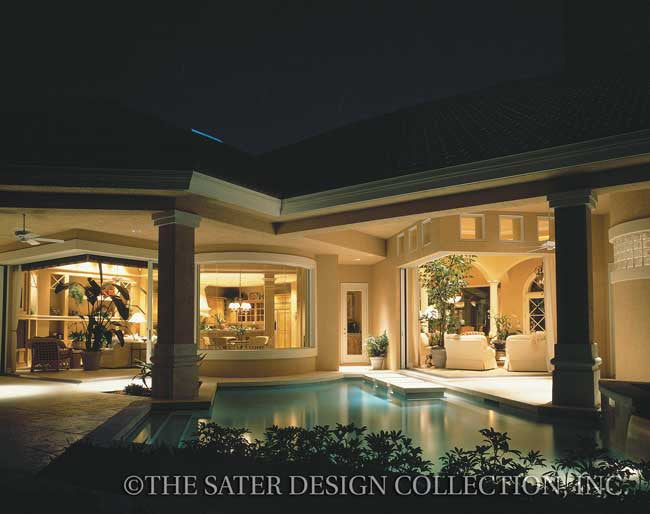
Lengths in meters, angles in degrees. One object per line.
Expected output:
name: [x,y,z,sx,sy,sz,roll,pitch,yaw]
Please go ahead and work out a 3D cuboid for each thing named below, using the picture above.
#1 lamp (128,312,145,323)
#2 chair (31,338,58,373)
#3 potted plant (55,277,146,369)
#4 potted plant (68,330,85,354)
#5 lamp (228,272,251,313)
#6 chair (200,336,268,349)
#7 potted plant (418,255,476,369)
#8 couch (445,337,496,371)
lamp: [-5.303,1.707,14.707,0.492,0.207,0.462,1,-5,1]
chair: [-6.848,2.378,12.713,0.697,0.808,0.504,4,-13,-11]
potted plant: [-5.929,1.788,13.120,2.315,1.964,1.963,-1,-21,-17]
potted plant: [-6.808,2.334,14.253,0.625,0.602,0.606,1,-3,-29]
lamp: [-2.002,1.040,12.196,0.448,0.973,0.445,0,-3,-3]
chair: [-2.096,1.987,12.208,1.517,0.342,0.180,3,-13,-6]
potted plant: [3.382,1.420,14.651,1.472,3.281,2.401,-1,-13,14]
couch: [3.750,2.468,13.481,1.339,0.797,1.242,8,-14,-29]
